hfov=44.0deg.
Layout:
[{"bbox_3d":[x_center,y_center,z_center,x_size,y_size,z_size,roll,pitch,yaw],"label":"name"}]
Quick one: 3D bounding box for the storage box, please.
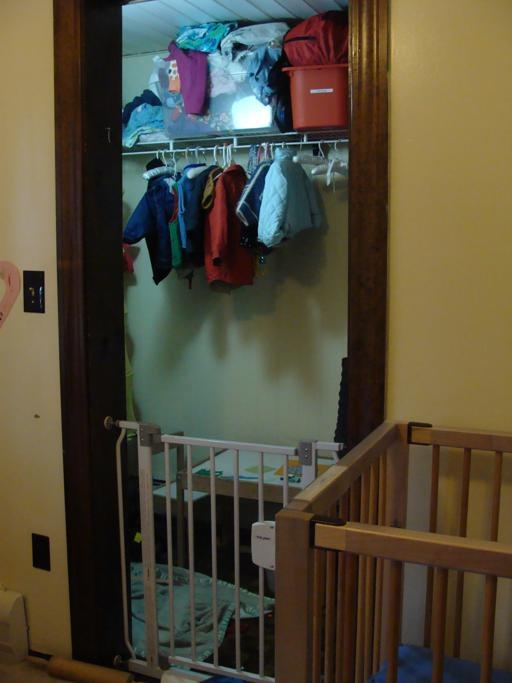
[{"bbox_3d":[0.244,-0.887,2.636,0.266,0.297,0.387,-3,-29,1],"label":"storage box"}]
